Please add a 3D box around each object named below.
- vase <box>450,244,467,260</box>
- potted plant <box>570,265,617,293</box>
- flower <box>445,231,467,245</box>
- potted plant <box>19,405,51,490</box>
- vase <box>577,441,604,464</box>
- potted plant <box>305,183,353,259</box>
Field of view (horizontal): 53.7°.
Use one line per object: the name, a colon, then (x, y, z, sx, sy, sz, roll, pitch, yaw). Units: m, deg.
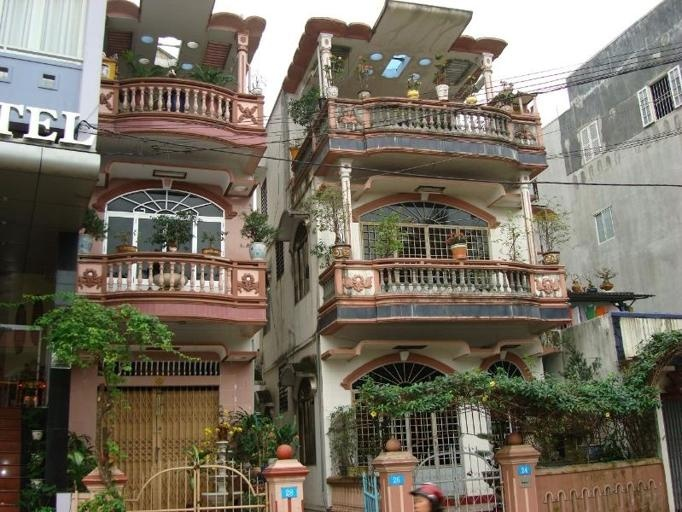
vase: (3.436, -0.118, 19.655, 0.480, 0.309, 0.441, 1, -12, -6)
potted plant: (9.791, 0.877, 26.109, 0.916, 1.096, 2.442, 5, -7, -22)
flower: (3.374, -0.561, 19.856, 0.490, 0.234, 0.452, -1, -8, 5)
potted plant: (-6.751, 4.156, 14.720, 0.372, 1.678, 0.885, 15, -23, -42)
vase: (6.227, 4.907, 16.847, 0.610, 0.505, 0.312, -1, 3, 5)
potted plant: (-0.377, -0.883, 19.189, 1.170, 2.256, 1.446, 0, -17, -2)
